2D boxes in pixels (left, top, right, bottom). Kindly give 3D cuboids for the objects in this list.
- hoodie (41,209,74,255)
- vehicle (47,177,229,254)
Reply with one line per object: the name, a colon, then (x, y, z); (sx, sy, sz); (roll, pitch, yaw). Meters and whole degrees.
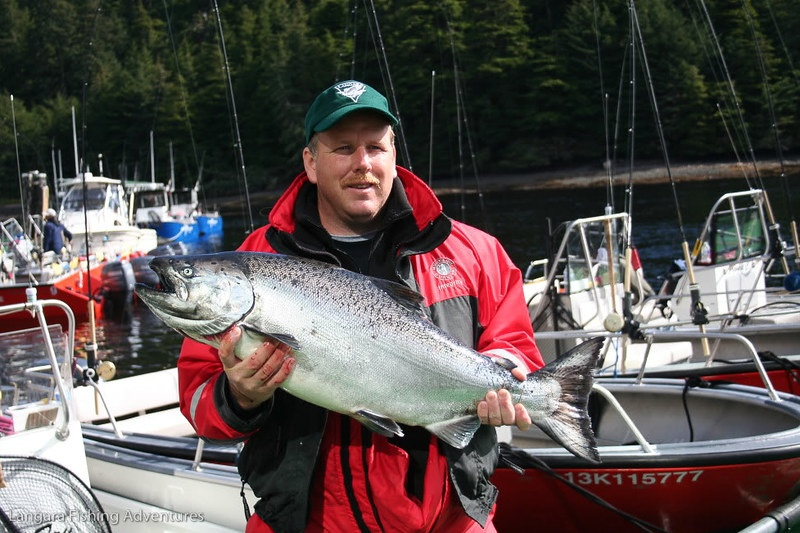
hoodie: (-8.692, -0.869, 22.015); (0.568, 1.126, 0.985); (-6, 6, -16)
vehicle: (-8.438, -1.793, 29.394); (2.023, 2.721, 7.646); (7, 12, 21)
